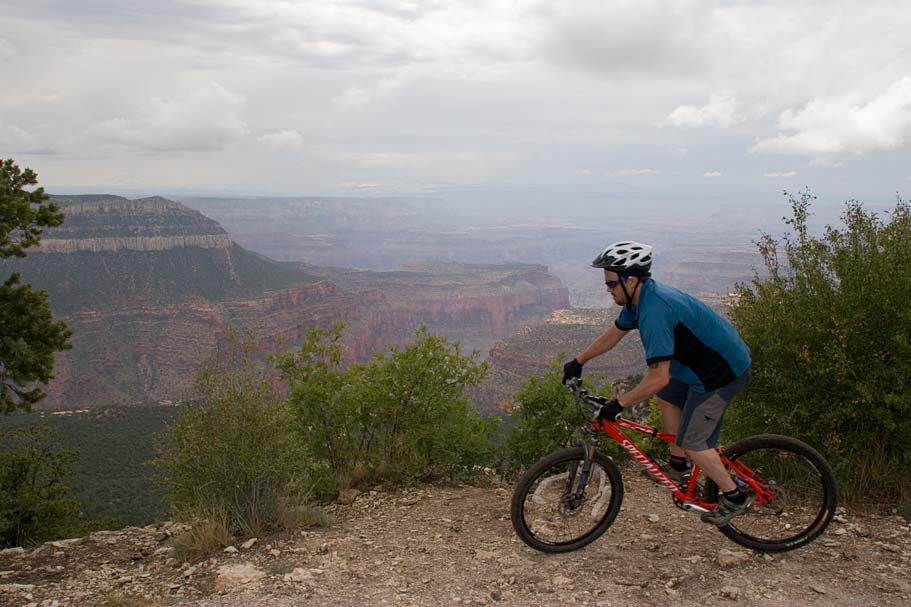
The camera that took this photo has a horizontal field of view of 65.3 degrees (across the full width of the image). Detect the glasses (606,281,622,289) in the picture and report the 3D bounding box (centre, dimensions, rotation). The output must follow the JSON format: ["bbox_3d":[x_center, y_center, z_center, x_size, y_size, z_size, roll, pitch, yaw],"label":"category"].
[{"bbox_3d":[2.155,-0.274,9.801,0.121,0.038,0.117,28,-18,-14],"label":"glasses"}]

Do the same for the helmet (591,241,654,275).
[{"bbox_3d":[2.323,-0.634,9.831,0.661,0.308,0.478,5,9,3],"label":"helmet"}]

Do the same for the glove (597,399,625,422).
[{"bbox_3d":[2.140,1.471,10.014,0.273,0.317,0.352,10,3,-30],"label":"glove"}]
